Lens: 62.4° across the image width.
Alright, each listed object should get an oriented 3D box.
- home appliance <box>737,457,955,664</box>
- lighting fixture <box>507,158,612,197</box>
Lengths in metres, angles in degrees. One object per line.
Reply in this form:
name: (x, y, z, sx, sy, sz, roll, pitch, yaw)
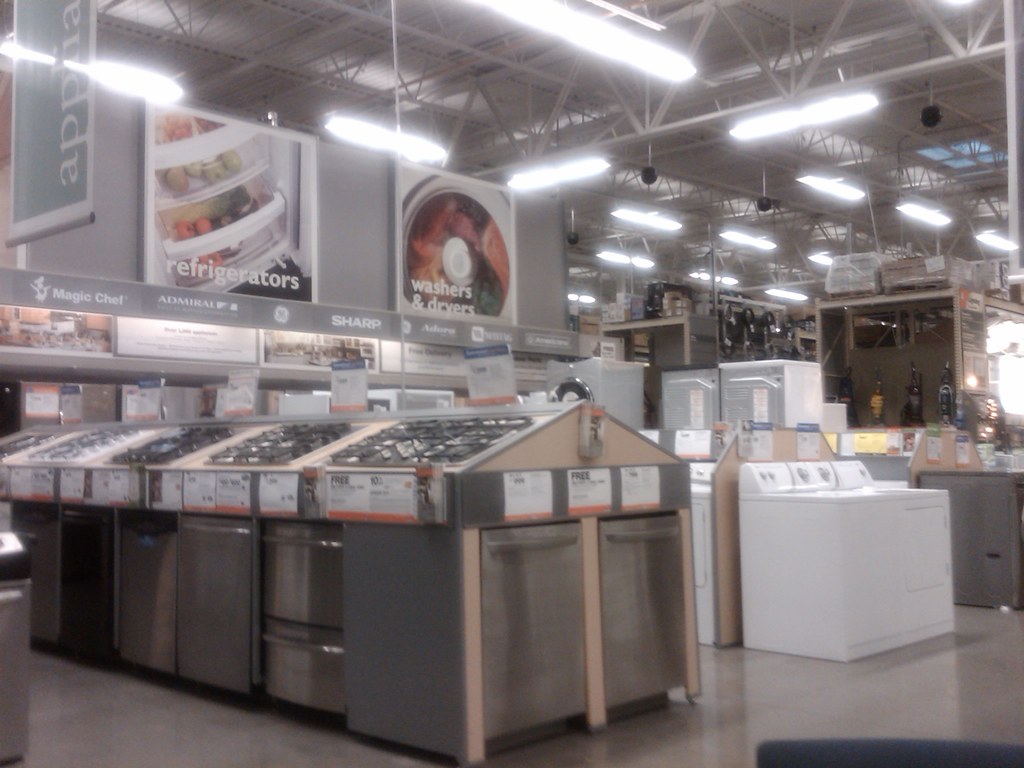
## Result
home appliance: (2.342, 1.124, 5.767, 1.457, 1.268, 0.767, 3, -7, -39)
lighting fixture: (0.736, -3.403, 13.821, 1.626, 0.185, 0.549, -6, 28, 48)
